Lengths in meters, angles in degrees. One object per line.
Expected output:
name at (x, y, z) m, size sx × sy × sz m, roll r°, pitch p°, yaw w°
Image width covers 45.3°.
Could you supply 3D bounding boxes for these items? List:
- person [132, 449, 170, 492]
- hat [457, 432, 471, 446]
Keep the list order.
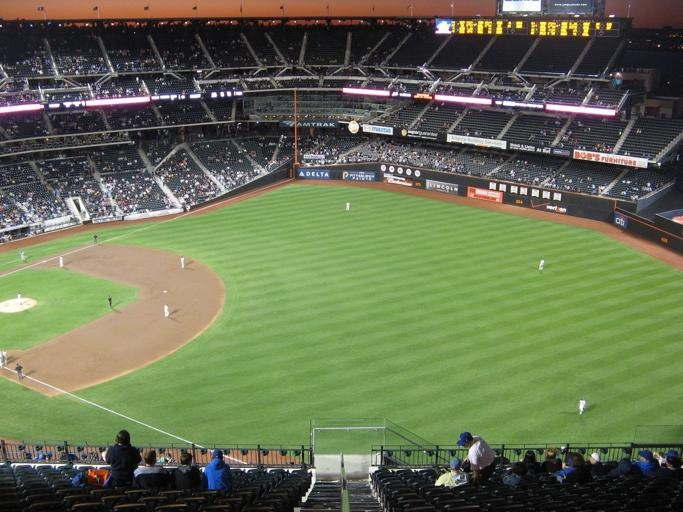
person at (-6.636, 7.011, 26.698) m, size 1.259 × 1.345 × 0.776 m, roll 0°, pitch 17°, yaw -9°
hat at (4.145, 6.125, 27.388) m, size 0.477 × 0.500 × 0.290 m, roll 5°, pitch 17°, yaw 10°
